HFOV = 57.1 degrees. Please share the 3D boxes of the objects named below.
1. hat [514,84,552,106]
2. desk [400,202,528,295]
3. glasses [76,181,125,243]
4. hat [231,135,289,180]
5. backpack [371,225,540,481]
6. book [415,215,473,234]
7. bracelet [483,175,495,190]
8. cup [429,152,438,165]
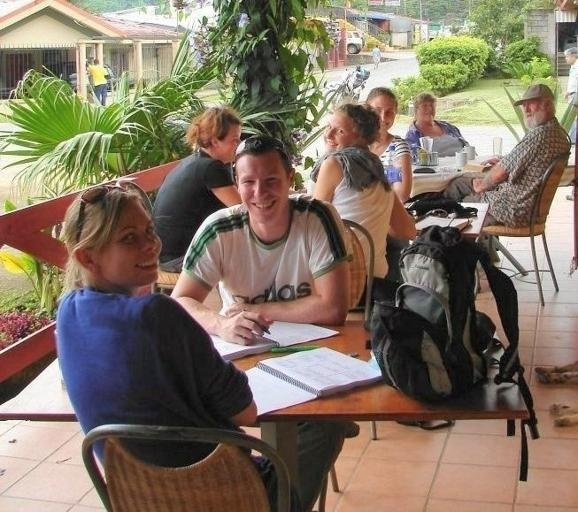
[{"bbox_3d":[2.076,-1.377,4.540,0.265,0.101,0.173,6,9,9],"label":"hat"},{"bbox_3d":[0.834,-0.079,2.484,0.487,0.352,0.797,5,24,15],"label":"desk"},{"bbox_3d":[-0.427,-0.099,1.194,0.133,0.117,0.040,-8,32,-42],"label":"glasses"},{"bbox_3d":[-0.096,-0.373,1.975,0.212,0.129,0.134,5,17,-1],"label":"hat"},{"bbox_3d":[0.374,0.144,1.373,0.473,0.355,0.283,-2,13,-29],"label":"backpack"},{"bbox_3d":[0.781,-0.162,2.639,0.236,0.044,0.212,2,7,25],"label":"book"},{"bbox_3d":[1.661,-0.613,4.427,0.103,0.079,0.089,-2,3,-2],"label":"bracelet"},{"bbox_3d":[1.301,-0.878,4.790,0.127,0.111,0.112,-1,9,3],"label":"cup"}]
